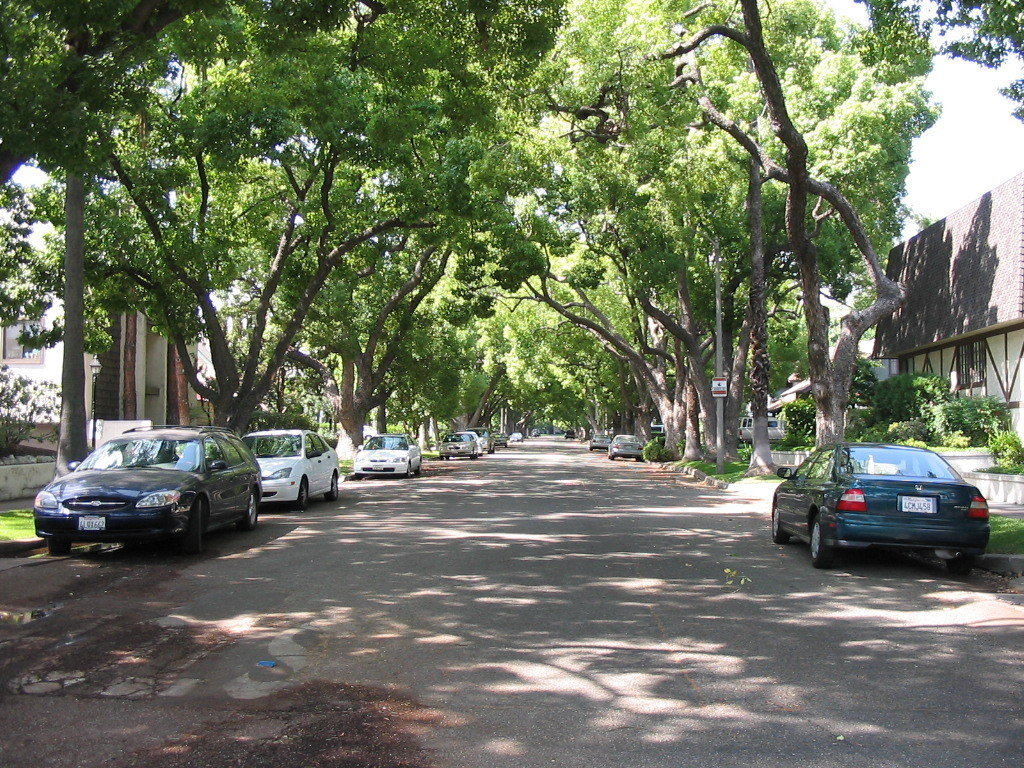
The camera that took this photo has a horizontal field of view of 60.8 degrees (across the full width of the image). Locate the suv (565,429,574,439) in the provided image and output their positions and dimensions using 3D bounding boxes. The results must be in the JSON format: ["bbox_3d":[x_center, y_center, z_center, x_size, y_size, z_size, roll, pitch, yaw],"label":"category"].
[{"bbox_3d":[10.396,9.040,158.465,1.250,1.315,2.353,-1,-8,3],"label":"suv"}]

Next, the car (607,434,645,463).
[{"bbox_3d":[7.023,3.982,53.609,1.394,1.235,3.547,0,-1,7],"label":"car"}]

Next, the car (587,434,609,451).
[{"bbox_3d":[7.776,5.264,78.802,1.265,1.131,3.154,1,3,7],"label":"car"}]

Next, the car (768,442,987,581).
[{"bbox_3d":[5.115,1.760,12.840,1.815,1.827,3.128,2,-7,-24],"label":"car"}]
